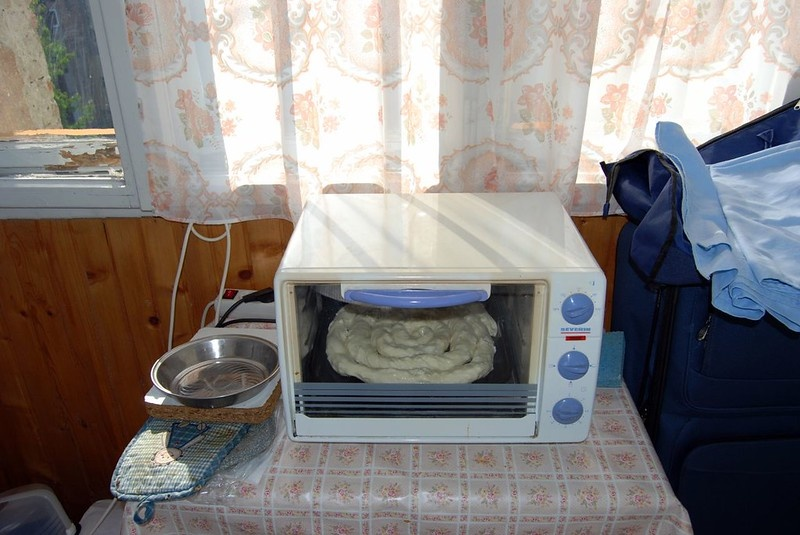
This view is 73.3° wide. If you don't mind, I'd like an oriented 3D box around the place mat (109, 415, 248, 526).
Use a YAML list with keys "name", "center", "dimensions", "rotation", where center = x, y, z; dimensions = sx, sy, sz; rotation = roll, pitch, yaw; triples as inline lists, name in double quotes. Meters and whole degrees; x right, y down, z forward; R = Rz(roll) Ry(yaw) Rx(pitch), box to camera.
- name: "place mat"
  center: [-0.538, 0.442, 1.286]
  dimensions: [0.253, 0.063, 0.363]
  rotation: [8, 14, 5]

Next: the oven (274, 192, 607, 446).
- name: "oven"
  center: [0.084, 0.073, 1.180]
  dimensions: [0.697, 0.442, 0.569]
  rotation: [0, 24, 1]

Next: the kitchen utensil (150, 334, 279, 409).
- name: "kitchen utensil"
  center: [-0.463, 0.275, 1.366]
  dimensions: [0.301, 0.057, 0.301]
  rotation: [12, 22, 26]
